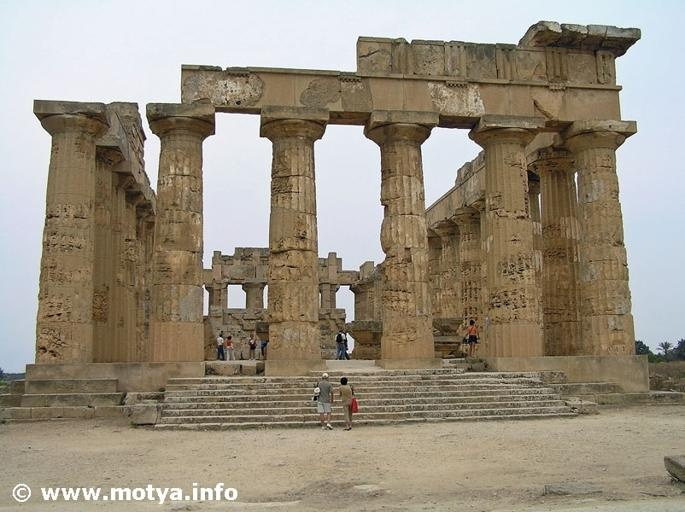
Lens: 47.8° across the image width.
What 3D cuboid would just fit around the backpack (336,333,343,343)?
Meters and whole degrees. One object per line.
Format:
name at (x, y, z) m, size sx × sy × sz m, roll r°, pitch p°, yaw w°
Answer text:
backpack at (-0.121, 3.033, 28.514) m, size 0.216 × 0.347 × 0.717 m, roll -2°, pitch -12°, yaw -3°

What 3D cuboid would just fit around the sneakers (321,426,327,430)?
sneakers at (-0.446, 4.050, 18.186) m, size 0.127 × 0.109 × 0.197 m, roll -2°, pitch -12°, yaw -2°

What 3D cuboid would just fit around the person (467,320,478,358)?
person at (4.360, 2.795, 26.173) m, size 0.348 × 1.326 × 1.375 m, roll -4°, pitch -12°, yaw 8°
